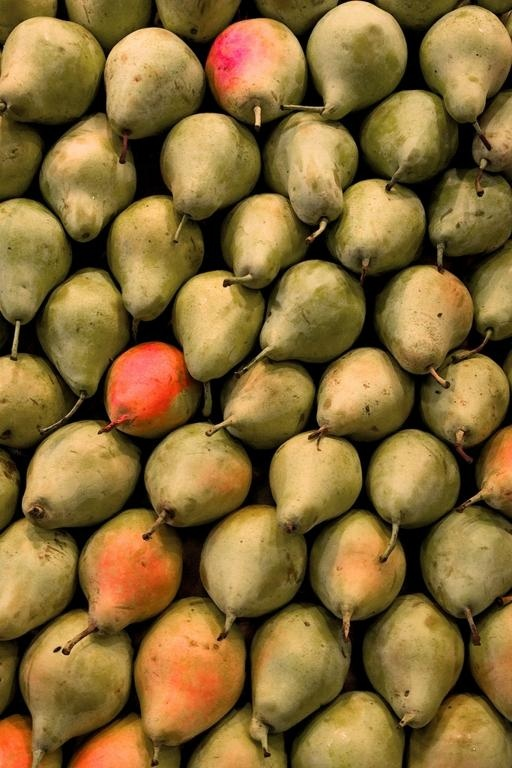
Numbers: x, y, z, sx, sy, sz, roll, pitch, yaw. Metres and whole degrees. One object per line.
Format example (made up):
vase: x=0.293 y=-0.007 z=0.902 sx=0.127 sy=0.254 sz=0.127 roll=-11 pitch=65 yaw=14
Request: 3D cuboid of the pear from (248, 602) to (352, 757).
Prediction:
pear: x=0.087 y=0.481 z=1.348 sx=0.141 sy=0.123 sz=0.238 roll=23 pitch=62 yaw=24

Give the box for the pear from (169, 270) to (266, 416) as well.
pear: x=-0.076 y=-0.071 z=1.404 sx=0.134 sy=0.110 sz=0.232 roll=21 pitch=74 yaw=-29

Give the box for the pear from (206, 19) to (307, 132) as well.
pear: x=0.003 y=-0.583 z=1.457 sx=0.185 sy=0.190 sz=0.233 roll=1 pitch=56 yaw=1

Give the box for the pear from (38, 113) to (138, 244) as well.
pear: x=-0.325 y=-0.371 z=1.463 sx=0.199 sy=0.183 sz=0.282 roll=1 pitch=44 yaw=-11

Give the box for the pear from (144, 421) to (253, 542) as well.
pear: x=-0.099 y=0.165 z=1.393 sx=0.145 sy=0.097 sz=0.196 roll=41 pitch=69 yaw=6

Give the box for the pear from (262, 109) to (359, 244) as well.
pear: x=0.101 y=-0.360 z=1.397 sx=0.184 sy=0.168 sz=0.313 roll=-6 pitch=49 yaw=1

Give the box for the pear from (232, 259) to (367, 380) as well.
pear: x=0.093 y=-0.115 z=1.399 sx=0.247 sy=0.144 sz=0.135 roll=-41 pitch=79 yaw=-11

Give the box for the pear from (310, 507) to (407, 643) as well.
pear: x=0.171 y=0.318 z=1.352 sx=0.167 sy=0.147 sz=0.233 roll=10 pitch=37 yaw=11

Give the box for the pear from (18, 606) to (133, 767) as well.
pear: x=-0.299 y=0.502 z=1.345 sx=0.135 sy=0.126 sz=0.253 roll=20 pitch=64 yaw=14

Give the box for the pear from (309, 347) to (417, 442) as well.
pear: x=0.166 y=0.037 z=1.378 sx=0.175 sy=0.131 sz=0.129 roll=-35 pitch=54 yaw=-24

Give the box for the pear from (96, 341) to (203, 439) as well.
pear: x=-0.193 y=0.010 z=1.436 sx=0.172 sy=0.181 sz=0.224 roll=4 pitch=25 yaw=10

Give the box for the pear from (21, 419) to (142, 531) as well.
pear: x=-0.321 y=0.162 z=1.401 sx=0.204 sy=0.150 sz=0.148 roll=-29 pitch=83 yaw=-49

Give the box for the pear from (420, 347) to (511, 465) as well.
pear: x=0.367 y=0.035 z=1.389 sx=0.138 sy=0.104 sz=0.177 roll=6 pitch=65 yaw=-2

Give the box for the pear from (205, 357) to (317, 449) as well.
pear: x=0.024 y=0.035 z=1.403 sx=0.187 sy=0.119 sz=0.116 roll=-24 pitch=85 yaw=-31

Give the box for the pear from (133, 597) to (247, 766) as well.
pear: x=-0.089 y=0.494 z=1.356 sx=0.158 sy=0.141 sz=0.247 roll=14 pitch=52 yaw=17

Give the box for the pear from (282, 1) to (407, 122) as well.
pear: x=0.153 y=-0.575 z=1.450 sx=0.175 sy=0.176 sz=0.236 roll=35 pitch=66 yaw=28

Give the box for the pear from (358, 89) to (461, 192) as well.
pear: x=0.263 y=-0.430 z=1.379 sx=0.147 sy=0.153 sz=0.197 roll=9 pitch=22 yaw=10

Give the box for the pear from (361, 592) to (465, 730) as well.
pear: x=0.269 y=0.473 z=1.367 sx=0.178 sy=0.149 sz=0.229 roll=8 pitch=36 yaw=9
